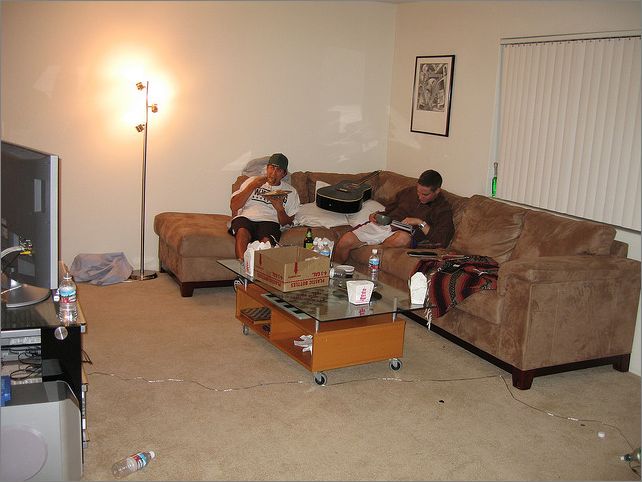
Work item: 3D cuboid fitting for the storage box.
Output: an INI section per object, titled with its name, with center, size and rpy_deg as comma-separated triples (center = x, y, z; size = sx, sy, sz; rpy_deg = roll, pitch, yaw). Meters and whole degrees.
[storage box]
center = -0.251, 0.118, 3.368
size = 0.362, 0.180, 0.360
rpy_deg = -7, 11, -36

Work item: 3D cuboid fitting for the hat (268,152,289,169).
[hat]
center = -0.432, -0.776, 4.802
size = 0.180, 0.108, 0.139
rpy_deg = 28, 12, 35

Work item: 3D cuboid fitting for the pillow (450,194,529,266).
[pillow]
center = 1.433, -0.090, 4.162
size = 0.189, 0.554, 0.558
rpy_deg = 19, 0, -37

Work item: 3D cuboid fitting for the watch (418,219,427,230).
[watch]
center = 0.927, -0.147, 4.447
size = 0.050, 0.069, 0.075
rpy_deg = 52, 21, 18

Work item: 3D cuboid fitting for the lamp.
[lamp]
center = -1.779, -0.610, 4.922
size = 0.297, 1.933, 0.569
rpy_deg = -2, 13, -13

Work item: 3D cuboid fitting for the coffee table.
[coffee table]
center = 0.026, 0.545, 3.455
size = 0.779, 0.571, 1.242
rpy_deg = -9, 16, -39

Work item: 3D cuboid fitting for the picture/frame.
[picture/frame]
center = 1.210, -1.541, 5.210
size = 0.042, 1.085, 0.784
rpy_deg = -6, 14, -31

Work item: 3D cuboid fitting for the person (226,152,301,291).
[person]
center = -0.543, -0.360, 4.694
size = 0.517, 0.657, 1.112
rpy_deg = 8, 29, 0
